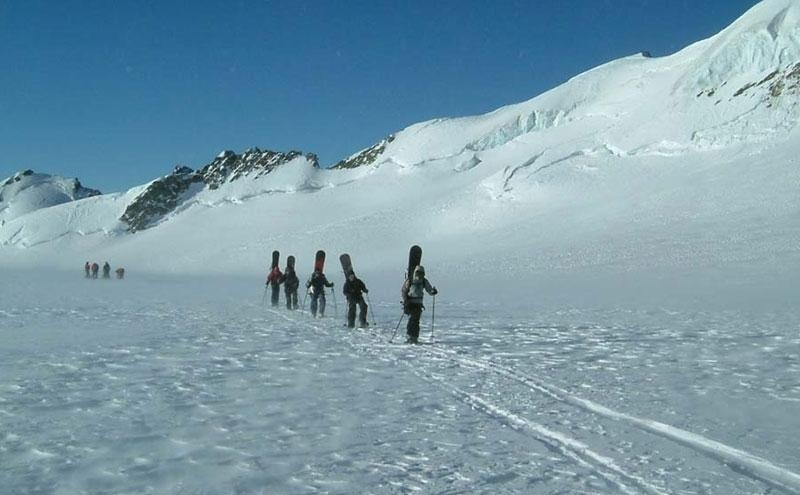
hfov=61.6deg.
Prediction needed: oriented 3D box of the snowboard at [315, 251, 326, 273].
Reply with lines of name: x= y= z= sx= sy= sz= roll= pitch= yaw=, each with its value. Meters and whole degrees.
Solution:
snowboard: x=-5.484 y=1.013 z=45.573 sx=0.653 sy=0.543 sz=2.232 roll=-14 pitch=13 yaw=-4

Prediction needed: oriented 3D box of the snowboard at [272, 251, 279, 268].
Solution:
snowboard: x=-8.887 y=0.870 z=47.685 sx=0.380 sy=0.328 sz=1.423 roll=3 pitch=-26 yaw=-3

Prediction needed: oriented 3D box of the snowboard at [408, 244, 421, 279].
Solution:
snowboard: x=0.693 y=0.671 z=35.499 sx=0.567 sy=1.852 sz=0.512 roll=16 pitch=-8 yaw=-3

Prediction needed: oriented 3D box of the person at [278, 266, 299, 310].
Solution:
person: x=-7.014 y=2.529 z=42.464 sx=0.963 sy=2.615 sz=1.360 roll=-1 pitch=8 yaw=-11
